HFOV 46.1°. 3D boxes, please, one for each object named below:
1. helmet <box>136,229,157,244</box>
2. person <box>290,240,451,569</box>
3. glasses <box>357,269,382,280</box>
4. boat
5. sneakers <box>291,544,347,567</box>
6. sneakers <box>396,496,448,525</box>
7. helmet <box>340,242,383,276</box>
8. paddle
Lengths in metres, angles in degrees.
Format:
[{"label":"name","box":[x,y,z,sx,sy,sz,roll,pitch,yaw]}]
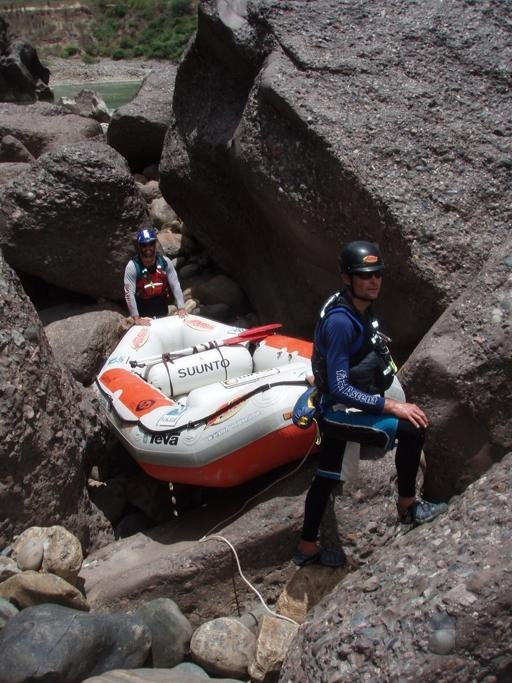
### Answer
[{"label":"helmet","box":[-1.005,-0.954,5.605,0.183,0.078,0.235,-10,20,-5]},{"label":"person","box":[0.529,0.414,3.003,0.548,1.713,0.776,-5,34,-22]},{"label":"glasses","box":[0.535,-0.316,2.779,0.066,0.038,0.080,-10,15,-40]},{"label":"boat","box":[-0.464,0.379,4.344,1.244,0.549,1.655,-16,23,-23]},{"label":"sneakers","box":[0.344,1.175,3.285,0.281,0.104,0.112,-2,37,-3]},{"label":"sneakers","box":[0.814,0.851,3.044,0.297,0.128,0.099,-14,30,37]},{"label":"helmet","box":[0.479,-0.396,2.825,0.159,0.138,0.185,-9,33,-11]},{"label":"paddle","box":[-0.441,0.042,5.098,0.886,0.095,0.104,-17,43,-12]}]
